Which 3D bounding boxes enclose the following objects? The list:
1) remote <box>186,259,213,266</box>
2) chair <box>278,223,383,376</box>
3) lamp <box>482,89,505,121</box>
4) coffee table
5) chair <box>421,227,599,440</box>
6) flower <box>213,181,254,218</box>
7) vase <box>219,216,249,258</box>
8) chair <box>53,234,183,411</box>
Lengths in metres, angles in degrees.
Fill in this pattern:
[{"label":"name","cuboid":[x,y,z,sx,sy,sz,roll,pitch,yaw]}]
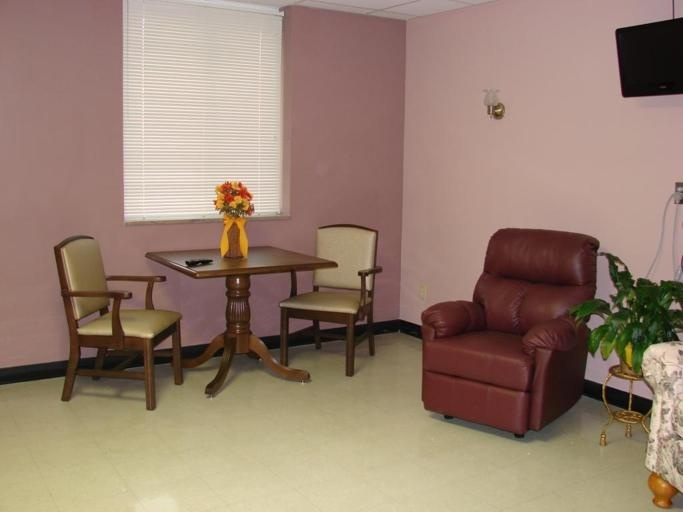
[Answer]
[{"label":"remote","cuboid":[-1.085,0.050,4.072,0.204,0.019,0.198,-1,10,-15]},{"label":"chair","cuboid":[-0.091,0.354,4.873,0.886,1.247,0.876,1,7,-1]},{"label":"lamp","cuboid":[1.307,-1.341,4.769,0.249,0.240,0.249,-8,14,-40]},{"label":"coffee table","cuboid":[-0.851,0.361,4.401,1.291,1.005,1.227,-2,4,-31]},{"label":"chair","cuboid":[1.195,0.500,3.902,1.073,1.314,0.981,8,12,30]},{"label":"flower","cuboid":[-0.864,-0.450,4.323,0.319,0.190,0.311,5,3,27]},{"label":"vase","cuboid":[-0.872,-0.161,4.309,0.201,0.338,0.132,-1,11,-9]},{"label":"chair","cuboid":[-1.690,0.466,4.057,0.772,1.182,0.551,3,11,7]}]
